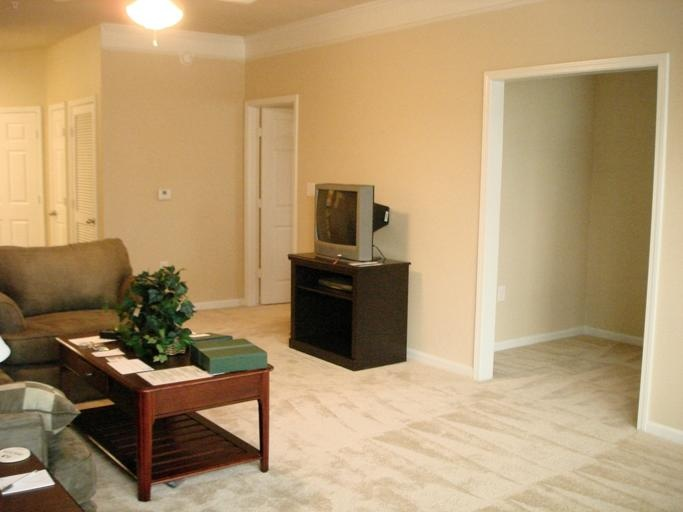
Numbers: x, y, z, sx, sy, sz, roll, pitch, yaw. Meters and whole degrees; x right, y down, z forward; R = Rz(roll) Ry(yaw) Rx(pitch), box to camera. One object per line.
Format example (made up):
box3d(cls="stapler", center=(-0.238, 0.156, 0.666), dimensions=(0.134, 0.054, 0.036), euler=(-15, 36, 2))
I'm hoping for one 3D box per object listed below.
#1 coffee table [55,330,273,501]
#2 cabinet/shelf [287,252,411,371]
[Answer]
box3d(cls="coffee table", center=(-0.908, 0.640, 3.035), dimensions=(0.802, 0.504, 1.261), euler=(-1, 5, -36))
box3d(cls="cabinet/shelf", center=(0.073, 0.464, 5.075), dimensions=(0.652, 0.910, 0.992), euler=(-7, 13, -41))
